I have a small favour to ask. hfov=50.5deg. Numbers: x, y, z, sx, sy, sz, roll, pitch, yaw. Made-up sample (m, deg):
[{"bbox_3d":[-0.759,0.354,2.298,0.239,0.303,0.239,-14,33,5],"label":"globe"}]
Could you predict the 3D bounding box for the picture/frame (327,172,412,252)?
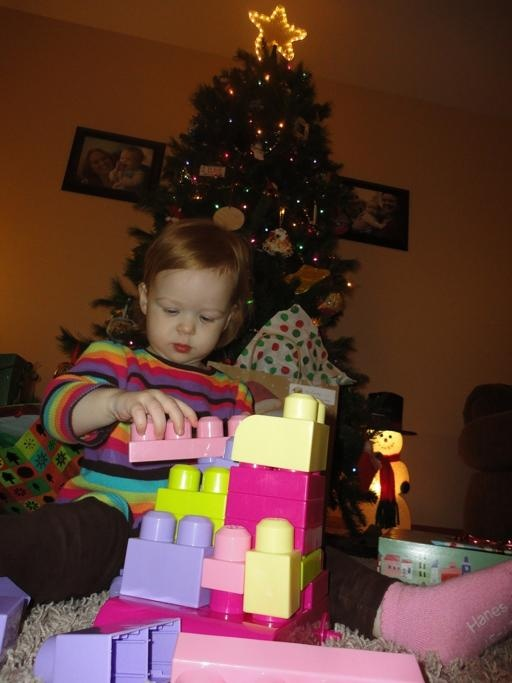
[{"bbox_3d":[0.607,-0.680,2.906,0.671,0.445,0.066,11,-25,-13],"label":"picture/frame"}]
